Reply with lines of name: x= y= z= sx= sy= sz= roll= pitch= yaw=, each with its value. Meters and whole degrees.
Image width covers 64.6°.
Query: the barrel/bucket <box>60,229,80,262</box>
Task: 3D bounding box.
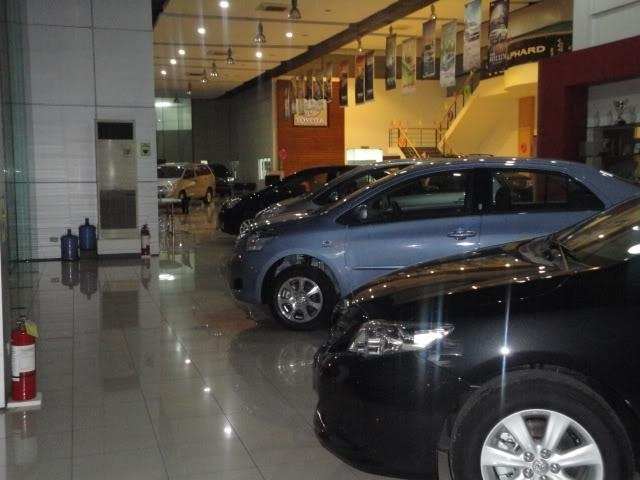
barrel/bucket: x=-5.331 y=0.113 z=10.678 sx=0.376 sy=0.658 sz=0.253 roll=-4 pitch=8 yaw=-24

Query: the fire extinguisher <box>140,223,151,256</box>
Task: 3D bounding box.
fire extinguisher: x=-3.830 y=-0.004 z=11.022 sx=0.175 sy=0.695 sz=0.246 roll=0 pitch=7 yaw=6

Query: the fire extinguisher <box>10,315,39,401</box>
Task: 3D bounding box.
fire extinguisher: x=-2.357 y=0.965 z=4.043 sx=0.245 sy=0.625 sz=0.183 roll=1 pitch=3 yaw=25

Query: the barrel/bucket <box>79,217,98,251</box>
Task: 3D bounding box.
barrel/bucket: x=-5.032 y=-0.136 z=10.840 sx=0.347 sy=0.616 sz=0.350 roll=3 pitch=11 yaw=-1
